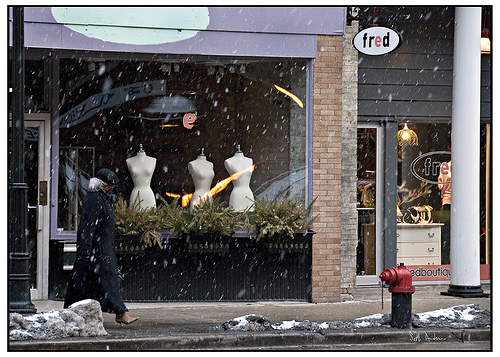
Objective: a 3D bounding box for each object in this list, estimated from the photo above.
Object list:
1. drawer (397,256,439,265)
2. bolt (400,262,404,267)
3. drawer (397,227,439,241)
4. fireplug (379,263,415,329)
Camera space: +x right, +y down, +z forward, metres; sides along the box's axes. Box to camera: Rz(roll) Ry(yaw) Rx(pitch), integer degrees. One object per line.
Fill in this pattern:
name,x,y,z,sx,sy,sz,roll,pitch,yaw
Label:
drawer,3.633,1.740,25.644,0.996,0.183,0.117,2,-8,-19
bolt,2.683,1.495,20.908,0.075,0.076,0.040,-1,1,7
drawer,3.651,1.159,25.649,0.957,0.298,0.179,3,-8,-27
fireplug,2.596,2.031,20.809,0.566,1.151,0.226,-2,-7,7
